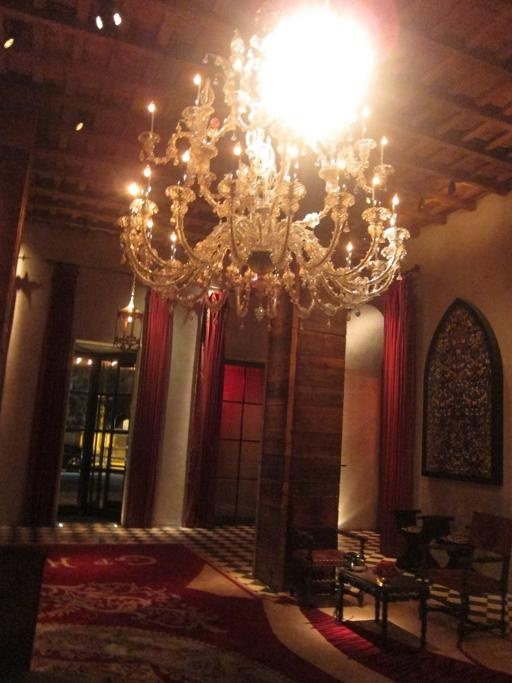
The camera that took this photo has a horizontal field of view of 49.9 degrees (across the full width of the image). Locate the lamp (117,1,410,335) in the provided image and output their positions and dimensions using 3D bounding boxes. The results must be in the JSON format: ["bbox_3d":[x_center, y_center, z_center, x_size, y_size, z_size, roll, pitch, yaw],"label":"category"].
[{"bbox_3d":[0.058,-1.290,4.003,1.946,2.362,1.879,1,-16,10],"label":"lamp"}]

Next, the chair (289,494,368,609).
[{"bbox_3d":[0.592,1.795,4.802,0.582,0.860,0.627,9,-16,-20],"label":"chair"}]
